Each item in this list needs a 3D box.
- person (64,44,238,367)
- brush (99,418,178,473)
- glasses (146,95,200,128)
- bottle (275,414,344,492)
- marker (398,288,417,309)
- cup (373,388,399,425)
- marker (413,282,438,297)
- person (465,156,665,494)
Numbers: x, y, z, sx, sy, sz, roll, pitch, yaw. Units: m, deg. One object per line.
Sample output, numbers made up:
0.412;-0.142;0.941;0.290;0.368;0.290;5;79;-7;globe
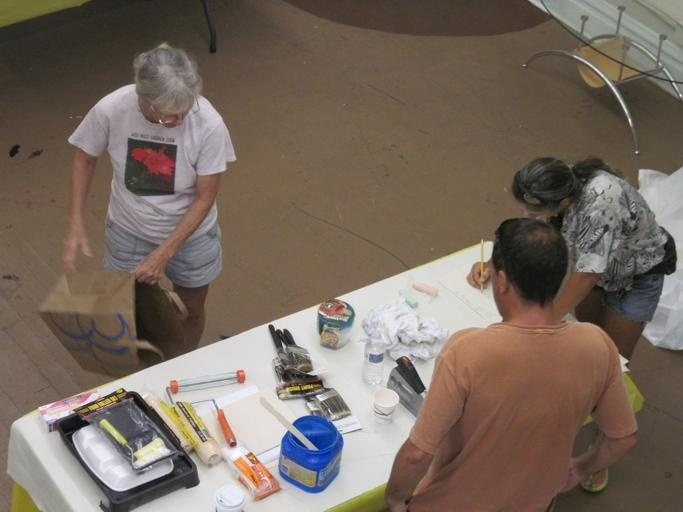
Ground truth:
-1.039;-0.037;3.369;0.809;2.280;0.917;-5;43;-21;person
-0.785;0.694;2.348;0.282;0.126;0.147;11;26;39;brush
-0.803;-0.685;2.909;0.205;0.122;0.176;22;40;27;glasses
-0.107;0.741;2.431;0.226;0.285;0.289;14;30;12;bottle
0.332;0.198;3.081;0.059;0.034;0.106;-26;50;-20;marker
0.188;0.627;2.583;0.107;0.096;0.126;1;51;-3;cup
0.425;0.167;3.126;0.114;0.041;0.060;24;50;11;marker
0.982;0.334;2.591;0.947;1.555;0.646;-38;45;1;person
